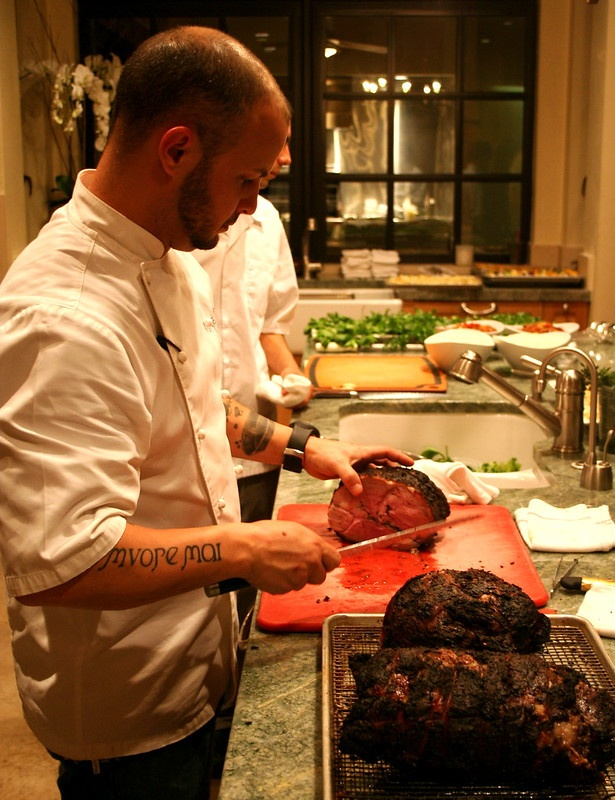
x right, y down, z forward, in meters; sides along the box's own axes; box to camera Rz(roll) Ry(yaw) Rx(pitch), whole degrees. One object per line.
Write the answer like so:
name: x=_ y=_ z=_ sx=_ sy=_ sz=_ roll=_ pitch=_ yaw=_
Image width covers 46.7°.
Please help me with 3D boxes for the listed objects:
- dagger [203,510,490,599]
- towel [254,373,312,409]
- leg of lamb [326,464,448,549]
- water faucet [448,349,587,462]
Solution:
dagger: x=0.161 y=0.267 z=1.458 sx=0.079 sy=0.044 sz=0.955 roll=-3 pitch=-4 yaw=26
towel: x=-0.077 y=-0.037 z=2.264 sx=0.126 sy=0.058 sz=0.138 roll=6 pitch=5 yaw=-8
leg of lamb: x=0.161 y=0.209 z=1.553 sx=0.246 sy=0.141 sz=0.257 roll=-1 pitch=15 yaw=8
water faucet: x=0.568 y=-0.002 z=1.947 sx=0.434 sy=0.286 sz=0.375 roll=0 pitch=15 yaw=-3
